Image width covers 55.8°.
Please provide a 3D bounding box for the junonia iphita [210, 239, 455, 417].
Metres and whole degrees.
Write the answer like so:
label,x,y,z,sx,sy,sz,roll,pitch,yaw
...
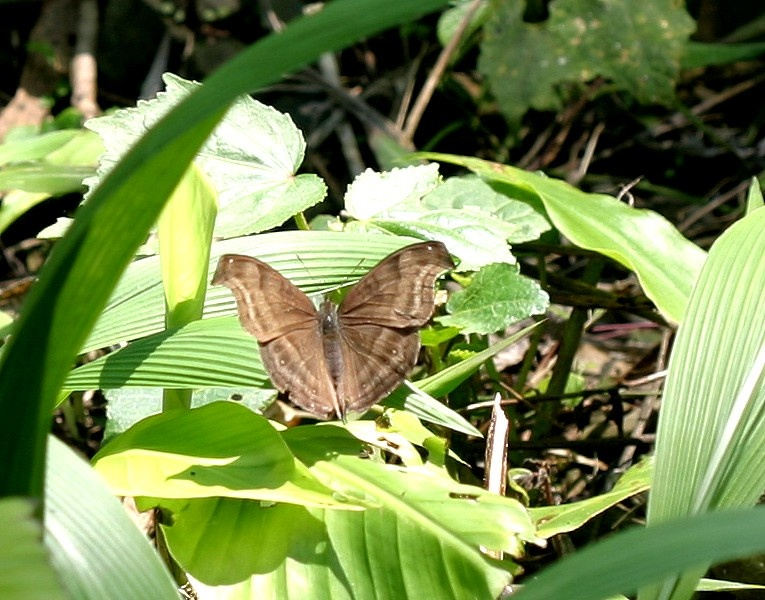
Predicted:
label,x,y,z,sx,sy,sz,roll,pitch,yaw
junonia iphita,-0.074,0.061,1.238,0.555,0.266,0.127,-7,-10,35
